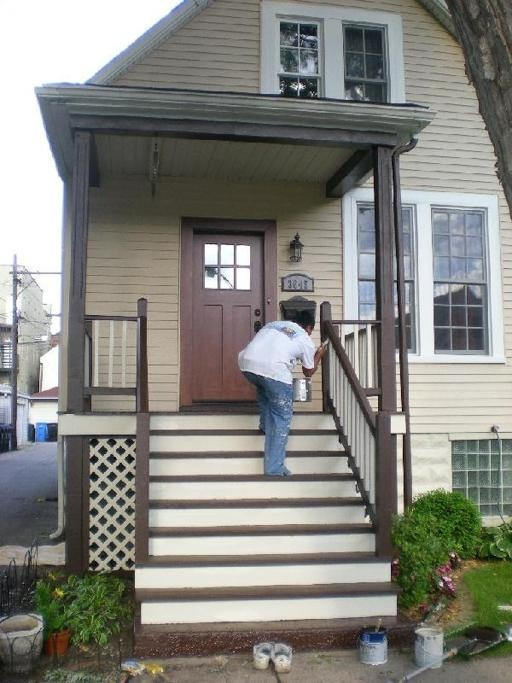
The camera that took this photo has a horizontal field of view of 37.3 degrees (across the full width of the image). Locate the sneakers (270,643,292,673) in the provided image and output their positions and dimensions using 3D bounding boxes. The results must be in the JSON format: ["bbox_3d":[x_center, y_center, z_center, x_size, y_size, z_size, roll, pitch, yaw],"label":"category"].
[{"bbox_3d":[0.152,1.946,4.662,0.121,0.097,0.223,0,0,1],"label":"sneakers"}]

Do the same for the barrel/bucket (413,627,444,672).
[{"bbox_3d":[1.071,1.899,4.701,0.181,0.205,0.193,2,-3,0],"label":"barrel/bucket"}]

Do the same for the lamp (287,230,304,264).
[{"bbox_3d":[0.436,-1.014,8.236,0.169,0.303,0.136,0,-1,1],"label":"lamp"}]

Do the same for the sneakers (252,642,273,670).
[{"bbox_3d":[0.041,1.944,4.691,0.117,0.095,0.182,0,0,2],"label":"sneakers"}]

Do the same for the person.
[{"bbox_3d":[0.178,0.394,6.073,0.524,1.285,0.543,-1,-1,36],"label":"person"}]

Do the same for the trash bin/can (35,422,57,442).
[{"bbox_3d":[-9.216,3.952,32.851,0.909,0.657,0.961,0,-3,-7],"label":"trash bin/can"}]

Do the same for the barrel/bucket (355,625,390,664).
[{"bbox_3d":[0.721,1.872,4.721,0.180,0.213,0.192,0,-7,0],"label":"barrel/bucket"}]
